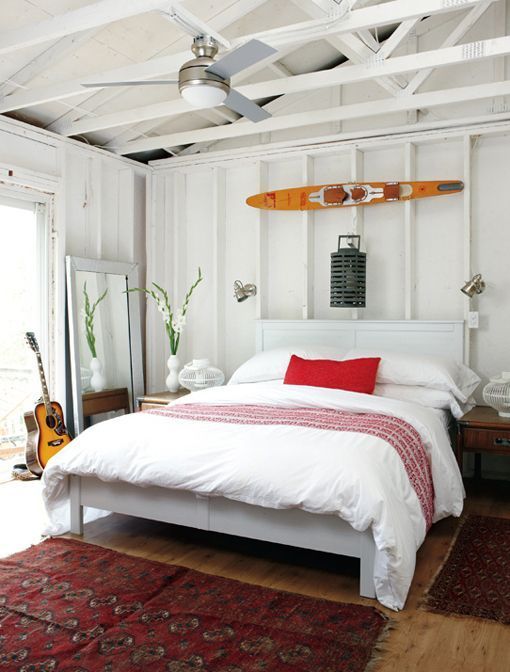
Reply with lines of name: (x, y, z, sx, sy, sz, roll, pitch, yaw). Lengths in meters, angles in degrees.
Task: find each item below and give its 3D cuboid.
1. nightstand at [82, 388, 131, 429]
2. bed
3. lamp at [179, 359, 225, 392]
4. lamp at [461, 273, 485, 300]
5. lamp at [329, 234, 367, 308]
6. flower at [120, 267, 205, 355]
nightstand: (-1.177, 0.519, 4.390, 0.258, 0.278, 0.471, -3, -1, 28)
bed: (0.372, 0.471, 2.779, 1.600, 0.752, 1.568, 0, 3, 30)
lamp: (-0.416, 0.301, 4.329, 0.290, 0.190, 0.294, 3, 5, 39)
lamp: (1.450, -0.337, 3.682, 0.142, 0.166, 0.153, -1, -1, 21)
lamp: (0.655, -0.414, 3.907, 0.240, 0.410, 0.130, 0, -1, 4)
flower: (-0.720, -0.188, 4.809, 0.930, 0.889, 0.701, -1, -7, -5)
